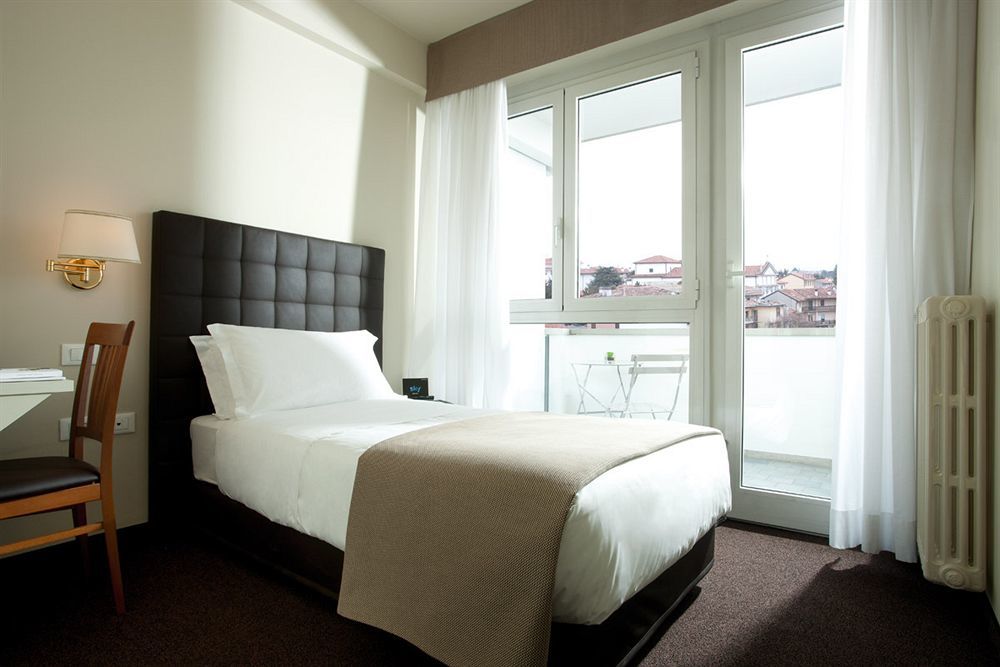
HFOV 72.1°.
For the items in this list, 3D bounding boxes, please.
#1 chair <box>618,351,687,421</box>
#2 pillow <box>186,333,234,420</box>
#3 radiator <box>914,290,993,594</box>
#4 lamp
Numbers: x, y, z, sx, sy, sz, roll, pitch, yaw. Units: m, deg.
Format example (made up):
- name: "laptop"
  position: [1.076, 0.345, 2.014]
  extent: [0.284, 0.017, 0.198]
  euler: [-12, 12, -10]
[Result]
- name: "chair"
  position: [1.080, 0.366, 4.762]
  extent: [0.328, 0.621, 0.449]
  euler: [3, -1, 11]
- name: "pillow"
  position: [-1.759, 0.254, 4.117]
  extent: [0.075, 0.457, 0.336]
  euler: [-20, -5, 15]
- name: "radiator"
  position: [2.348, 0.551, 3.530]
  extent: [0.329, 1.477, 0.168]
  euler: [3, 5, 30]
- name: "lamp"
  position: [-2.283, -0.461, 3.847]
  extent: [0.436, 0.425, 0.370]
  euler: [2, 2, -19]
